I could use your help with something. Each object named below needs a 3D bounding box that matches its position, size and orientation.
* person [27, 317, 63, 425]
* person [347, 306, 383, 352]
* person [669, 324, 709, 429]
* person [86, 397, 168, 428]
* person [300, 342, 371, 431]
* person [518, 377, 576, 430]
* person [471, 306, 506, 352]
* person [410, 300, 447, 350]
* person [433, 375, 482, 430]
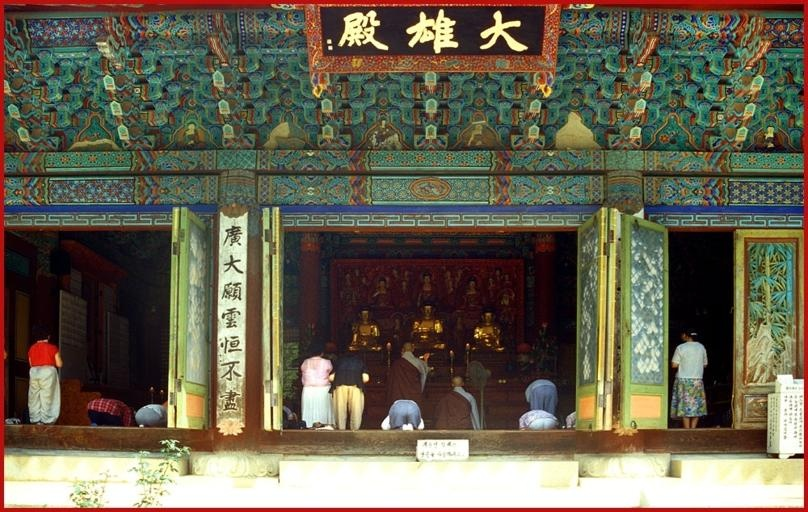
[{"bbox_3d":[-4.808,1.592,13.449,0.402,1.329,0.424,3,-13,-19],"label":"person"},{"bbox_3d":[-0.691,1.349,18.149,0.840,0.940,0.638,0,-21,1],"label":"person"},{"bbox_3d":[3.905,1.694,13.797,0.520,1.348,0.730,-4,-12,11],"label":"person"},{"bbox_3d":[-3.716,2.085,13.339,0.839,0.403,0.948,7,-14,-36],"label":"person"},{"bbox_3d":[-0.998,1.825,13.882,0.901,1.120,0.594,7,-15,-36],"label":"person"},{"bbox_3d":[1.870,1.995,13.503,0.732,0.705,0.849,0,-12,-6],"label":"person"},{"bbox_3d":[1.526,1.354,18.119,0.738,0.780,0.490,-4,12,23],"label":"person"},{"bbox_3d":[0.415,1.295,18.179,0.624,0.722,0.549,3,7,8],"label":"person"},{"bbox_3d":[0.725,1.970,13.450,0.626,0.709,0.435,1,-12,-10],"label":"person"}]
